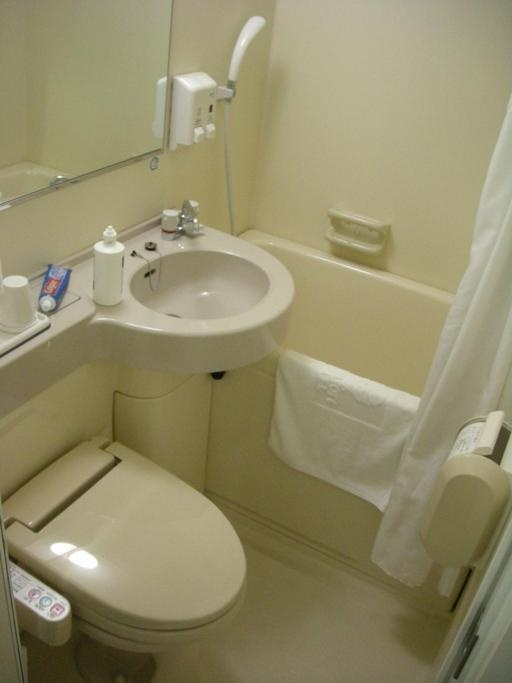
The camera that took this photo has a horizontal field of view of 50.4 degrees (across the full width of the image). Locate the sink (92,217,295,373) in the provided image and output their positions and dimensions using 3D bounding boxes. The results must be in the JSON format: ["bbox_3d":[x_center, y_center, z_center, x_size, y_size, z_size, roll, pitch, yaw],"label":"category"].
[{"bbox_3d":[-0.154,-0.102,1.235,0.282,0.183,0.336,25,42,25],"label":"sink"}]

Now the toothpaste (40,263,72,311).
[{"bbox_3d":[-0.375,-0.102,1.006,0.047,0.024,0.093,18,50,-17],"label":"toothpaste"}]

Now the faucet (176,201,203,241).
[{"bbox_3d":[-0.167,-0.326,1.448,0.053,0.099,0.092,7,35,4],"label":"faucet"}]

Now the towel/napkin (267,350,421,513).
[{"bbox_3d":[0.223,0.249,1.544,0.397,0.344,0.071,21,29,22],"label":"towel/napkin"}]
